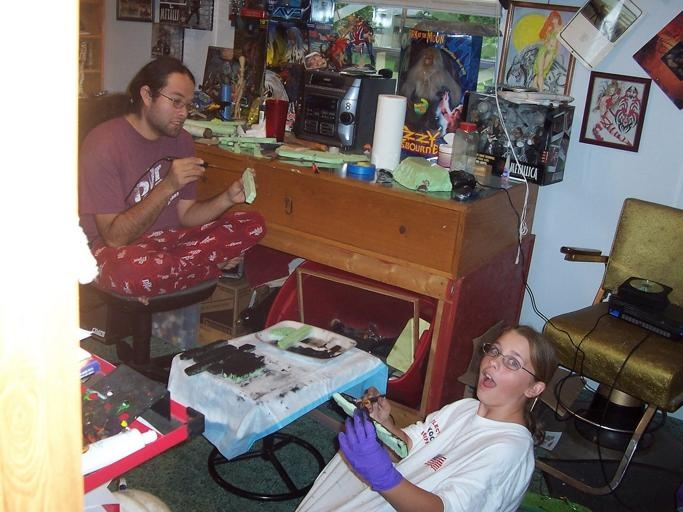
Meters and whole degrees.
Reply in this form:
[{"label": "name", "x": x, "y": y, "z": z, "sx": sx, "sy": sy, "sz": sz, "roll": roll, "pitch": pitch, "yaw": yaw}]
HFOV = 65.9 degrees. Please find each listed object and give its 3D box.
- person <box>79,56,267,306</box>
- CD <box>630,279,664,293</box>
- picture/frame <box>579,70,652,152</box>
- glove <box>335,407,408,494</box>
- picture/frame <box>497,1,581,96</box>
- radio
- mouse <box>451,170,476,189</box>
[{"label": "person", "x": -0.783, "y": -0.313, "z": 2.391, "sx": 0.753, "sy": 1.097, "sz": 0.725, "roll": -6, "pitch": 23, "yaw": -28}, {"label": "CD", "x": 1.365, "y": 0.137, "z": 2.352, "sx": 0.076, "sy": 0.013, "sz": 0.080, "roll": 10, "pitch": 25, "yaw": 17}, {"label": "picture/frame", "x": 1.355, "y": -0.724, "z": 2.576, "sx": 0.310, "sy": 0.424, "sz": 0.030, "roll": 17, "pitch": 24, "yaw": 29}, {"label": "glove", "x": 0.075, "y": 0.502, "z": 1.358, "sx": 0.217, "sy": 0.123, "sz": 0.063, "roll": 56, "pitch": 7, "yaw": 29}, {"label": "picture/frame", "x": 1.006, "y": -1.057, "z": 2.639, "sx": 0.409, "sy": 0.524, "sz": 0.039, "roll": 18, "pitch": 20, "yaw": 15}, {"label": "radio", "x": 0.001, "y": -0.743, "z": 2.694, "sx": 0.438, "sy": 0.363, "sz": 0.219, "roll": 4, "pitch": 20, "yaw": -5}, {"label": "mouse", "x": 0.511, "y": -0.331, "z": 2.214, "sx": 0.069, "sy": 0.036, "sz": 0.096, "roll": 10, "pitch": 20, "yaw": 19}]
